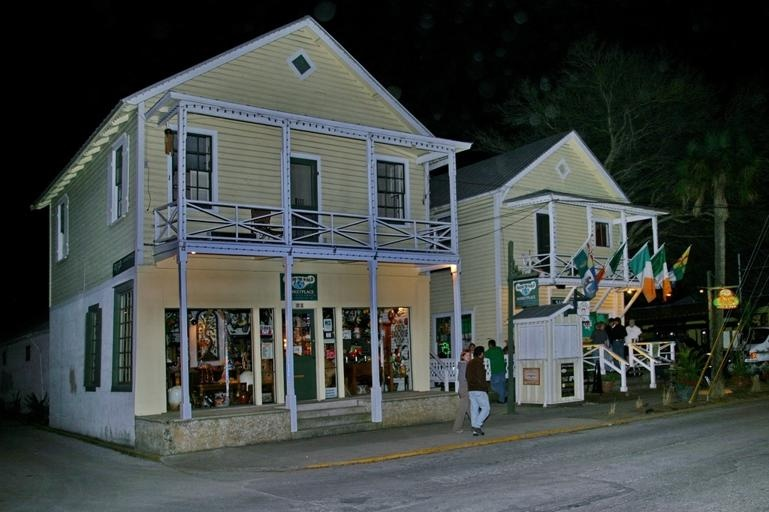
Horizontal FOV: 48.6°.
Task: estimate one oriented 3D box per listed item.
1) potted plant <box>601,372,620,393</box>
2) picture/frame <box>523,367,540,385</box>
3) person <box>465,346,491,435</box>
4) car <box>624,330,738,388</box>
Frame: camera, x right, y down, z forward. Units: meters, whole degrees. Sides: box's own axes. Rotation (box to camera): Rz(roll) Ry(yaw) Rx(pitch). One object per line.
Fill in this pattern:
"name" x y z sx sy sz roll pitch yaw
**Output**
"potted plant" 8.972 5.011 33.828 0.758 0.562 0.765 -1 -8 -1
"picture/frame" 5.348 4.352 31.067 0.155 0.637 0.809 7 -13 -40
"person" 2.816 4.061 25.988 0.630 2.647 1.068 -2 -10 5
"car" 10.854 4.038 34.372 3.632 1.775 2.151 2 -9 -1
